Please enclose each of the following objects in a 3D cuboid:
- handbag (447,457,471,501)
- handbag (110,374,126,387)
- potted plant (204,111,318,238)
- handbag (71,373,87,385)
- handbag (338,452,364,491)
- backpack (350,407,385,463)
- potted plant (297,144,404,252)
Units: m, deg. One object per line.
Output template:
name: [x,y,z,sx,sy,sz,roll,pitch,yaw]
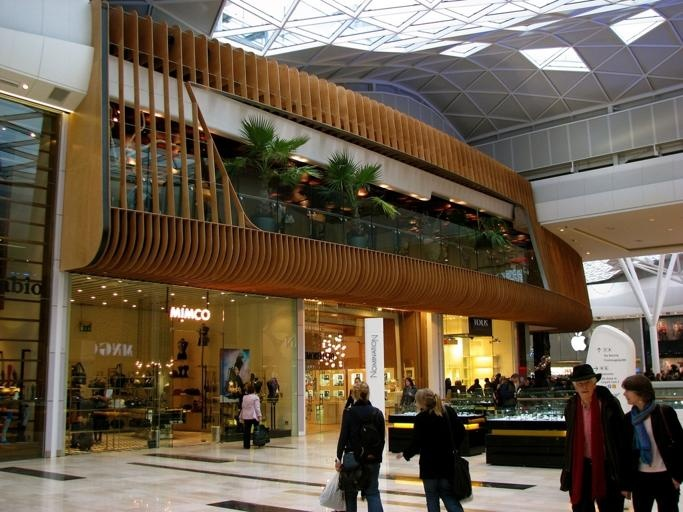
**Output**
handbag: [1.205,2.315,5.930,0.208,0.508,0.466,-4,-21,16]
handbag: [-5.399,3.001,13.790,0.178,0.327,0.343,-1,-2,27]
potted plant: [-1.992,-2.039,15.024,2.416,3.069,1.469,8,-14,-36]
handbag: [-5.992,2.824,13.076,0.210,0.274,0.392,0,-5,16]
handbag: [0.117,2.379,6.306,0.306,0.425,0.241,-9,-28,17]
backpack: [0.267,2.012,6.412,0.453,0.657,0.375,6,-23,-22]
potted plant: [0.133,-1.445,17.504,2.731,2.769,2.700,10,-29,-18]
